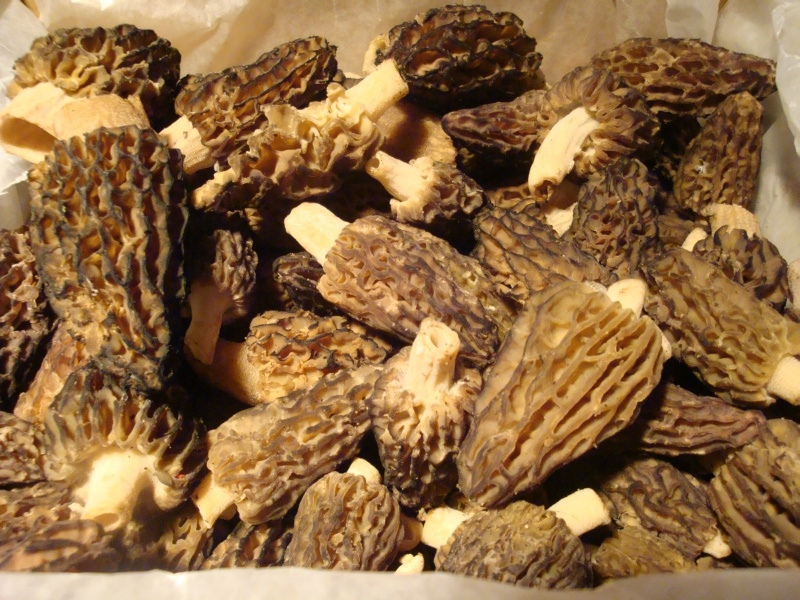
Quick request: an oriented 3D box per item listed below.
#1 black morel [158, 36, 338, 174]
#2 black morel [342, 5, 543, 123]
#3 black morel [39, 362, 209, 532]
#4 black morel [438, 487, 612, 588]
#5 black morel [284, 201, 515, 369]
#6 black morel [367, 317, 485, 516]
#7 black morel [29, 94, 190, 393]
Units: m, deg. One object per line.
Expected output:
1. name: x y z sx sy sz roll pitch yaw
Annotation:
1. black morel: -0.446 -0.618 2.719 0.620 0.291 0.294 -27 67 -18
2. black morel: 0.182 -0.752 2.803 0.492 0.307 0.264 -1 -7 -6
3. black morel: -0.714 0.382 2.392 0.424 0.388 0.452 6 37 -2
4. black morel: 0.303 0.638 2.231 0.314 0.170 0.239 -32 74 -13
5. black morel: 0.002 -0.025 2.555 0.650 0.265 0.327 32 65 17
6. black morel: 0.077 0.316 2.321 0.316 0.543 0.262 15 31 18
7. black morel: -0.813 -0.127 2.374 0.437 0.705 0.268 -6 -10 -40
